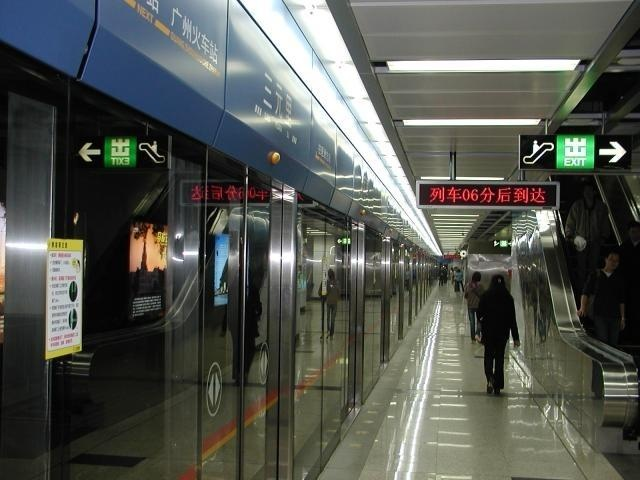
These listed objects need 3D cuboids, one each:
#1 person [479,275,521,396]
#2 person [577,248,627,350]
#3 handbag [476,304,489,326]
[{"bbox_3d":[2.685,1.407,7.653,0.532,1.755,0.409,1,-3,-7],"label":"person"},{"bbox_3d":[3.838,0.806,6.929,0.542,1.240,1.067,-2,-3,31],"label":"person"},{"bbox_3d":[2.481,1.148,7.698,0.082,0.307,0.215,0,-2,0],"label":"handbag"}]
